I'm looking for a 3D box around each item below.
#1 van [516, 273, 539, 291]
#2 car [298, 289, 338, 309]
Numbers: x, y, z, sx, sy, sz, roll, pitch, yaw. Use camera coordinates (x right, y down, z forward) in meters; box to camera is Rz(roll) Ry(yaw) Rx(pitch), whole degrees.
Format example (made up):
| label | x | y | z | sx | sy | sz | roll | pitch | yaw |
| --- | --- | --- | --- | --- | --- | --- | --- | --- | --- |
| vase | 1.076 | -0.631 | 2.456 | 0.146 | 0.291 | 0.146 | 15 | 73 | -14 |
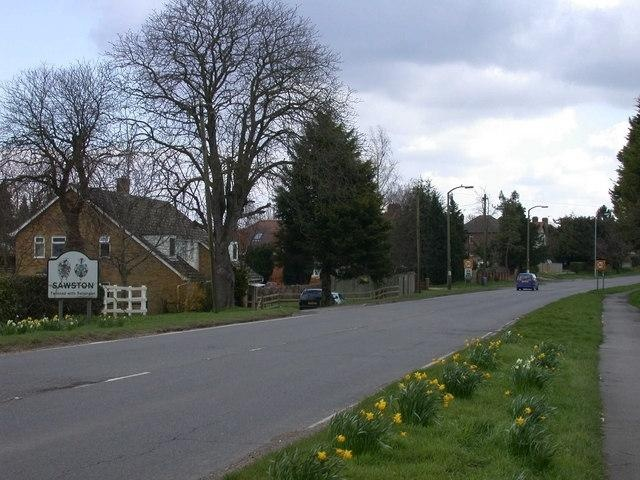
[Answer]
| label | x | y | z | sx | sy | sz | roll | pitch | yaw |
| --- | --- | --- | --- | --- | --- | --- | --- | --- | --- |
| van | 19.327 | 3.850 | 63.179 | 1.191 | 1.346 | 2.358 | 0 | 2 | 25 |
| car | -0.370 | 4.075 | 46.715 | 1.211 | 1.141 | 2.197 | 0 | 0 | 15 |
